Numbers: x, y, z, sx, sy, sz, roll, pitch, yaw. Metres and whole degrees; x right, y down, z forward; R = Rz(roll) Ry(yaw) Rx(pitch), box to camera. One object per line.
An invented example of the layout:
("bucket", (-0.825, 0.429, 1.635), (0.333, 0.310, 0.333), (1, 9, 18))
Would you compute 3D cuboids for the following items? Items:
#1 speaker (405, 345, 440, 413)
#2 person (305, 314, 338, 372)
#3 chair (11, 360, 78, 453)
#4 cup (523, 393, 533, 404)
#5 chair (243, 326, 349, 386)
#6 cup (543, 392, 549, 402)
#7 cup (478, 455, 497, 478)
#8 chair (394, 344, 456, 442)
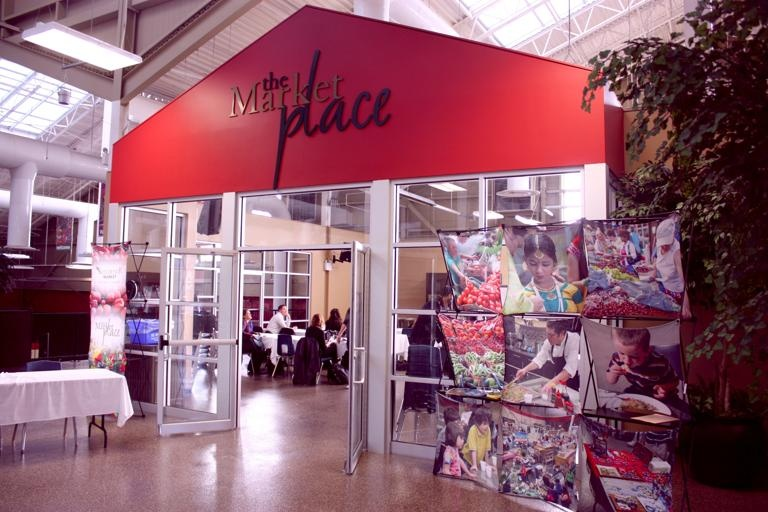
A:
("speaker", (0.537, 1.610, 7.373), (0.510, 0.943, 0.523), (1, -8, 7))
("person", (-1.306, 1.825, 11.479), (0.491, 1.167, 0.837), (0, -1, 33))
("chair", (-4.398, 2.005, 7.221), (0.780, 1.277, 0.801), (3, -12, -22))
("cup", (1.494, 1.495, 5.778), (0.084, 0.068, 0.083), (-2, -3, 0))
("chair", (-1.586, 2.250, 11.842), (1.778, 0.760, 1.361), (-1, -4, 28))
("cup", (1.661, 1.459, 5.708), (0.069, 0.075, 0.071), (1, -2, 0))
("cup", (1.148, 2.340, 6.188), (0.132, 0.218, 0.204), (-7, 11, -41))
("chair", (0.566, 1.883, 7.360), (0.758, 1.217, 0.809), (-4, -17, 41))
